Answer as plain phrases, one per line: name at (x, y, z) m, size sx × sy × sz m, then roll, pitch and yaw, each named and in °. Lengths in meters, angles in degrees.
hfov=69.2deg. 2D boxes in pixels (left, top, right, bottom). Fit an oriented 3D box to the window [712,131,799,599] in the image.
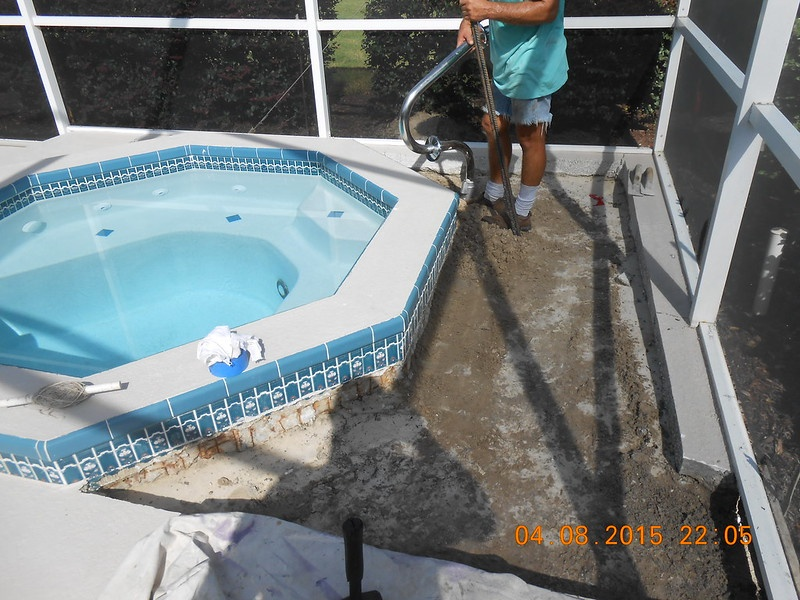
window at (1.641, 0.313, 2.638) m, size 0.084 × 1.241 × 1.702 m, roll -2°, pitch 42°, yaw 21°
